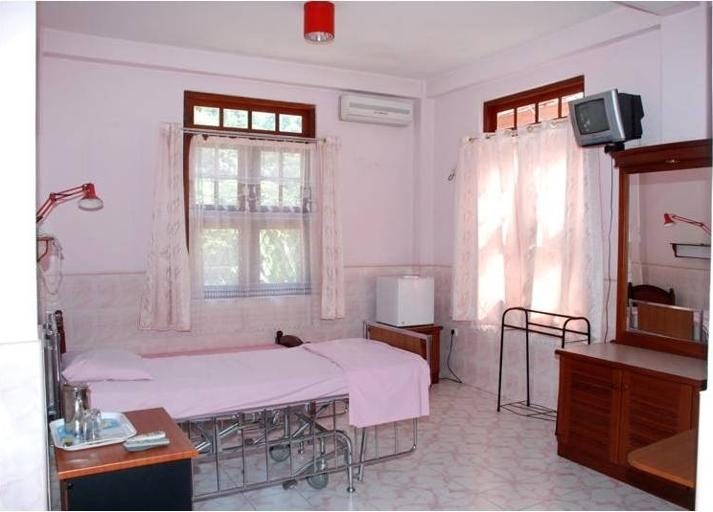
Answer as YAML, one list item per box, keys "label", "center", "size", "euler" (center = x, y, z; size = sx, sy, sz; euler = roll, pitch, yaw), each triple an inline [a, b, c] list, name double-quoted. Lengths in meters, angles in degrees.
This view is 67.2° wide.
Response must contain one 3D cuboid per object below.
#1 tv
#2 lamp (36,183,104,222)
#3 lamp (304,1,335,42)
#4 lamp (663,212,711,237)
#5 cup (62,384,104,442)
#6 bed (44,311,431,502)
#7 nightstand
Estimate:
- label: "tv"
  center: [2.125, -1.127, 4.648]
  size: [0.469, 0.410, 0.478]
  euler: [4, -6, -42]
- label: "lamp"
  center: [-2.516, -0.472, 4.694]
  size: [0.500, 0.353, 1.130]
  euler: [-4, 7, -29]
- label: "lamp"
  center: [-0.283, -1.788, 4.098]
  size: [0.229, 0.264, 0.216]
  euler: [-1, 7, -6]
- label: "lamp"
  center: [2.549, -0.270, 4.182]
  size: [0.097, 0.143, 0.394]
  euler: [-22, 34, -29]
- label: "cup"
  center: [-1.452, 0.823, 2.820]
  size: [0.312, 0.308, 0.166]
  euler: [1, 0, 40]
- label: "bed"
  center: [-0.608, 1.182, 4.241]
  size: [2.041, 0.885, 1.098]
  euler: [-3, 6, -20]
- label: "nightstand"
  center: [-1.179, 1.058, 2.721]
  size: [0.510, 0.324, 0.634]
  euler: [-2, 9, -29]
